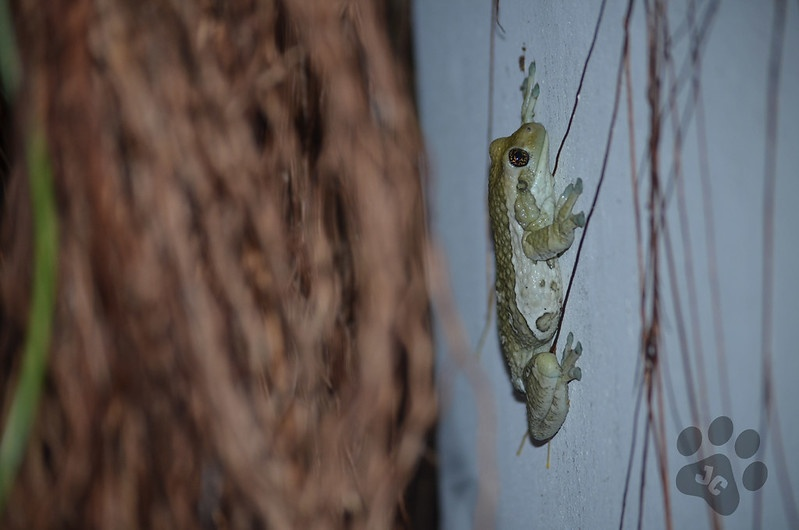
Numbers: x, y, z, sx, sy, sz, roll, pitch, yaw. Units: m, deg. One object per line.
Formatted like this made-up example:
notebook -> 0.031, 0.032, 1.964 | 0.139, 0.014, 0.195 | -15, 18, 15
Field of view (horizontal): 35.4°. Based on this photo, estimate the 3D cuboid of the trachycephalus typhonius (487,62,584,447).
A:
trachycephalus typhonius -> 0.284, 0.042, 2.646 | 0.232, 0.585, 0.284 | 5, -19, 9
